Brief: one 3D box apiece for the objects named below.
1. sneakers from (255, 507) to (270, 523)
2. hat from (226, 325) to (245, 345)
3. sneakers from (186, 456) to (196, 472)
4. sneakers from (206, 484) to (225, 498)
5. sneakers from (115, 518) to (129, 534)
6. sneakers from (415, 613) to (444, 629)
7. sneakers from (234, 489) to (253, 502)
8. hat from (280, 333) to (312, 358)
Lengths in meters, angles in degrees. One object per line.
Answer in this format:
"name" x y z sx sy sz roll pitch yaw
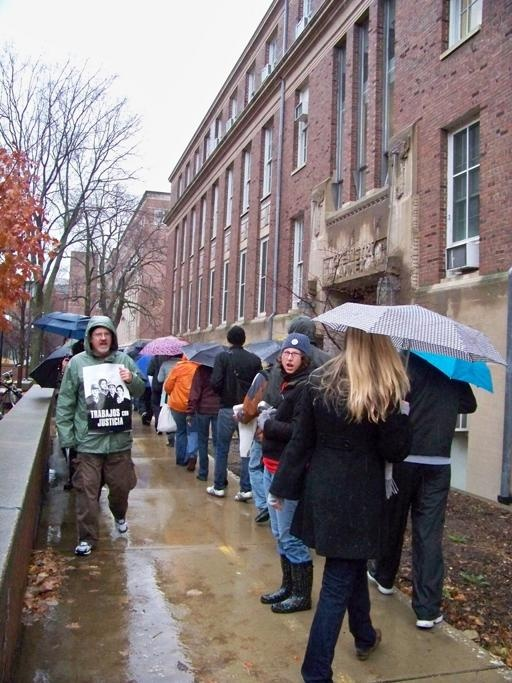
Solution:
"sneakers" 0.057 1.788 5.718 0.099 0.120 0.290 2 -19 -6
"hat" -0.253 -0.066 6.962 0.185 0.204 0.243 1 7 -1
"sneakers" -0.940 1.790 8.227 0.122 0.360 0.152 3 42 -13
"sneakers" -0.506 1.861 6.934 0.096 0.106 0.250 1 3 -36
"sneakers" -1.238 1.701 5.163 0.087 0.114 0.169 4 -24 -21
"sneakers" 1.045 1.675 3.397 0.194 0.082 0.068 1 -3 -42
"sneakers" -0.154 1.841 6.654 0.086 0.103 0.231 -12 -4 -32
"hat" 0.258 0.043 3.597 0.153 0.118 0.160 9 -7 34
